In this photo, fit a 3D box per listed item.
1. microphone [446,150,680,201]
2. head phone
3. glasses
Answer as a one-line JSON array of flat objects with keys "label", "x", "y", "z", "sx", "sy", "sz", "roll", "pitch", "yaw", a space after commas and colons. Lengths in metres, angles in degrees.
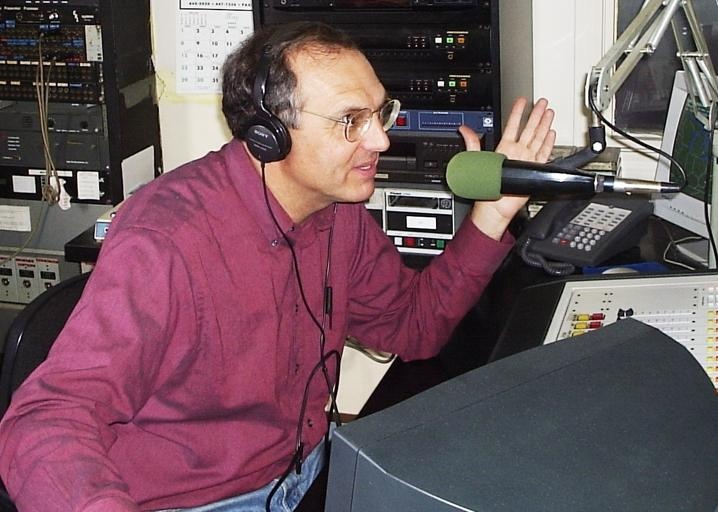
[{"label": "microphone", "x": 0.361, "y": -0.137, "z": 1.157, "sx": 0.391, "sy": 0.089, "sz": 0.084, "roll": 6, "pitch": 30, "yaw": 17}, {"label": "head phone", "x": -0.146, "y": -0.314, "z": 1.266, "sx": 0.089, "sy": 0.282, "sz": 0.213, "roll": -2, "pitch": -13, "yaw": 9}, {"label": "glasses", "x": 0.017, "y": -0.275, "z": 1.295, "sx": 0.133, "sy": 0.047, "sz": 0.128, "roll": 15, "pitch": 23, "yaw": 37}]
